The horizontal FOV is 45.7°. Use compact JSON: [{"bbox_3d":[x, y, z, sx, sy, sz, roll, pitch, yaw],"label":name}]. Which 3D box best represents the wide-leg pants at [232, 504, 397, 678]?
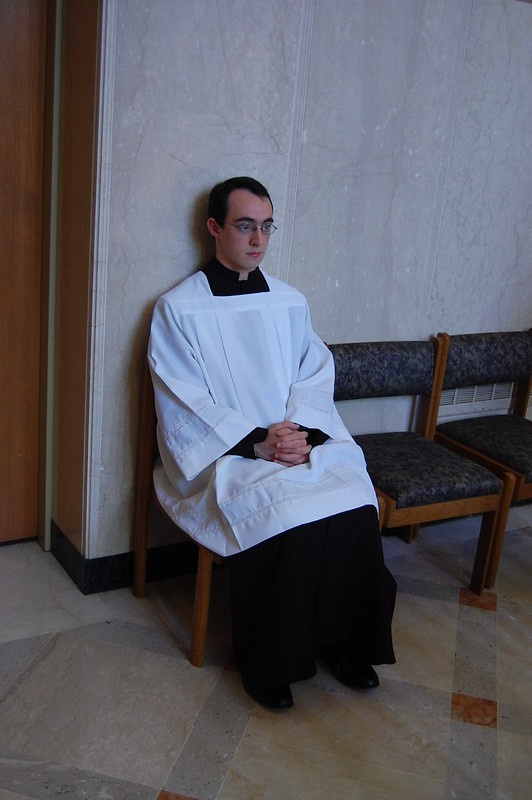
[{"bbox_3d":[0.108,0.460,1.537,0.420,0.432,0.265,-4,5,-21],"label":"wide-leg pants"}]

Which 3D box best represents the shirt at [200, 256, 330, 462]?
[{"bbox_3d":[-0.010,-0.088,1.734,0.322,0.599,0.136,-13,9,-30],"label":"shirt"}]
